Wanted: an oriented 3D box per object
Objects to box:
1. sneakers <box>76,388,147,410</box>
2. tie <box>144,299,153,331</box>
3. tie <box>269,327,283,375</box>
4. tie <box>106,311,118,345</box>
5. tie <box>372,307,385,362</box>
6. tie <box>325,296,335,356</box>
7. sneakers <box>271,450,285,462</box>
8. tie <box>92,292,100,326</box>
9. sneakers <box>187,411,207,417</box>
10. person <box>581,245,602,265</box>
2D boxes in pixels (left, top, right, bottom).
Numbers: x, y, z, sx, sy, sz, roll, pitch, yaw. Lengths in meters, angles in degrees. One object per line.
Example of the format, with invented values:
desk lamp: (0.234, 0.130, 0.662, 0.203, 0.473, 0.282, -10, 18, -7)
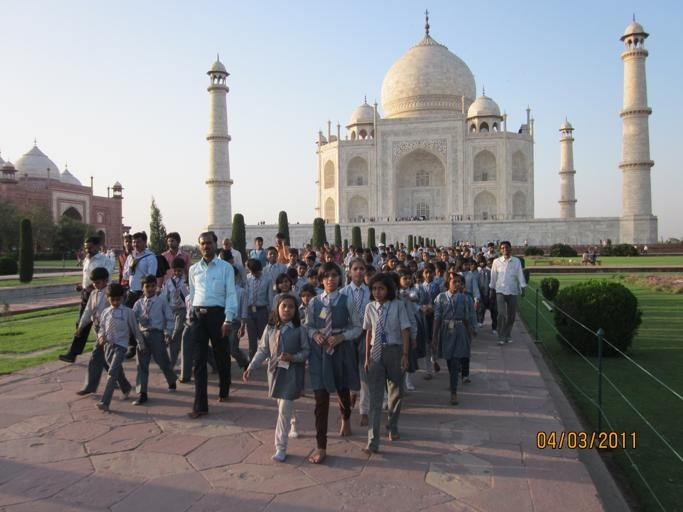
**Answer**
sneakers: (-2.346, 1.462, 6.812, 0.492, 0.222, 0.125, 0, 27, 6)
tie: (-2.105, 0.647, 7.258, 0.057, 0.224, 0.149, 1, -5, -33)
tie: (-0.575, 0.821, 5.840, 0.107, 0.361, 0.160, -1, 7, -8)
tie: (-2.364, 0.727, 6.985, 0.147, 0.292, 0.066, -3, -17, 25)
tie: (0.333, 0.678, 5.887, 0.091, 0.445, 0.155, 2, 7, 17)
tie: (-0.110, 0.605, 5.924, 0.063, 0.487, 0.198, 0, 7, -4)
sneakers: (-0.517, 1.670, 5.575, 0.144, 0.066, 0.052, 24, -40, -34)
tie: (-2.669, 0.587, 7.317, 0.054, 0.241, 0.172, 3, 11, -1)
sneakers: (-1.396, 1.516, 6.482, 0.180, 0.084, 0.066, 11, -6, -16)
person: (10.508, -0.062, 28.128, 0.537, 1.048, 1.667, -2, -4, 21)
